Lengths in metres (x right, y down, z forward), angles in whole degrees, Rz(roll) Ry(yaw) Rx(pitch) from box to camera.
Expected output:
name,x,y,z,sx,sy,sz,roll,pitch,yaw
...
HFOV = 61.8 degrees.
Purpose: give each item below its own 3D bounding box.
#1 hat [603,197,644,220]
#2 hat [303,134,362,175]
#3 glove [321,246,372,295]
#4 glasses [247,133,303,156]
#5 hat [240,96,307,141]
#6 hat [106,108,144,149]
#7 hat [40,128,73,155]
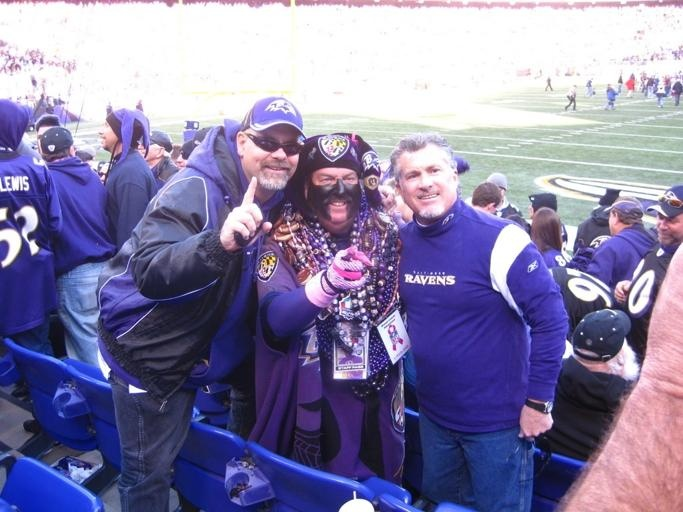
name,x,y,z,sx,sy,sz,roll,pitch,yaw
hat,2.811,-0.473,5.629,0.264,0.163,0.426,9,16,30
hat,-0.063,-0.545,3.060,0.298,0.208,0.177,-4,14,-18
glove,0.040,0.084,2.688,0.228,0.191,0.111,-28,-19,-6
glasses,-0.345,-0.585,2.996,0.290,0.111,0.114,-1,14,-5
hat,-0.359,-0.742,3.054,0.318,0.207,0.273,-1,14,-8
hat,-1.916,-1.183,5.260,0.205,0.342,0.395,7,15,26
hat,-2.467,-0.988,4.981,0.200,0.167,0.286,-4,50,-8
